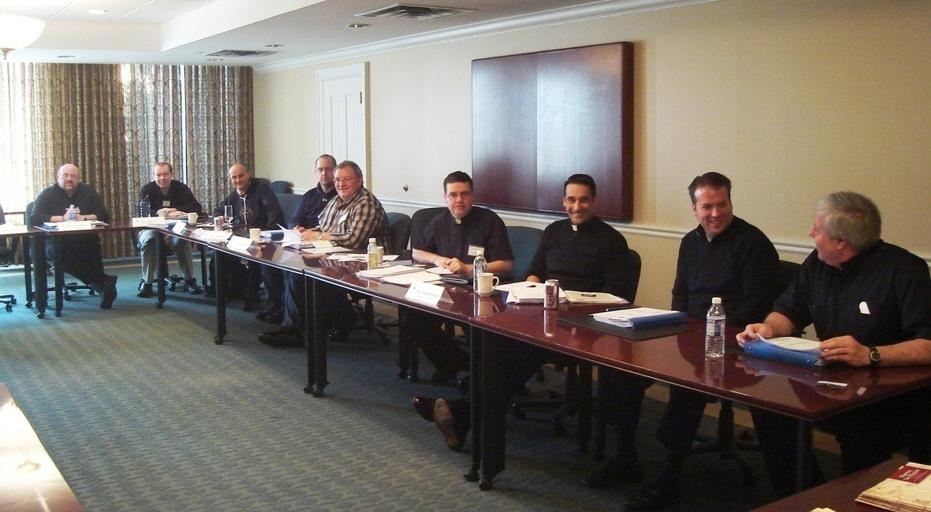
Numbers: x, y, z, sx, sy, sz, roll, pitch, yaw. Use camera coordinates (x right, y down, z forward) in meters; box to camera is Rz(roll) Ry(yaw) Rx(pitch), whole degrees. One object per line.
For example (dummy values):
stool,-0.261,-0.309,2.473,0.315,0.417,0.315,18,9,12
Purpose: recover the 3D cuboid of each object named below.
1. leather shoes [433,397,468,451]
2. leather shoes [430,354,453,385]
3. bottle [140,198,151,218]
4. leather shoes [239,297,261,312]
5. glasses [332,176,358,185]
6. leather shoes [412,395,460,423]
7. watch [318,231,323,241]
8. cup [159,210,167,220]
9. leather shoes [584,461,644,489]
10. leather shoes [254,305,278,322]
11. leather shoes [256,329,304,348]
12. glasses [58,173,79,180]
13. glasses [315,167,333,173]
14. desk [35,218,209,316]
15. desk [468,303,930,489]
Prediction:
leather shoes,-0.095,1.220,4.750,0.178,0.450,0.206,-4,14,9
leather shoes,-0.269,1.018,5.764,0.300,0.235,0.212,-1,6,-10
bottle,-4.210,-0.639,8.490,0.141,0.233,0.320,-6,11,-25
leather shoes,-2.621,0.611,7.925,0.126,0.105,0.283,-1,-5,32
glasses,-1.195,-0.753,6.476,0.216,0.084,0.089,-2,10,-8
leather shoes,-0.239,1.141,4.913,0.349,0.132,0.243,0,1,18
watch,-1.478,-0.198,6.619,0.056,0.071,0.075,1,-7,6
cup,-3.849,-0.518,8.219,0.141,0.085,0.129,1,7,0
leather shoes,1.024,1.492,4.421,0.470,0.161,0.156,0,-2,-3
leather shoes,-2.310,0.671,7.529,0.413,0.152,0.151,6,-2,42
leather shoes,-1.878,0.848,6.637,0.541,0.167,0.185,4,37,-6
glasses,-5.024,-1.000,8.176,0.194,0.074,0.101,-6,11,-26
glasses,-1.573,-0.958,7.194,0.146,0.053,0.157,-1,0,3
desk,-4.552,-0.025,7.768,1.636,0.832,1.505,-3,4,-35
desk,1.422,0.826,3.881,0.867,0.633,1.472,-1,3,-31
